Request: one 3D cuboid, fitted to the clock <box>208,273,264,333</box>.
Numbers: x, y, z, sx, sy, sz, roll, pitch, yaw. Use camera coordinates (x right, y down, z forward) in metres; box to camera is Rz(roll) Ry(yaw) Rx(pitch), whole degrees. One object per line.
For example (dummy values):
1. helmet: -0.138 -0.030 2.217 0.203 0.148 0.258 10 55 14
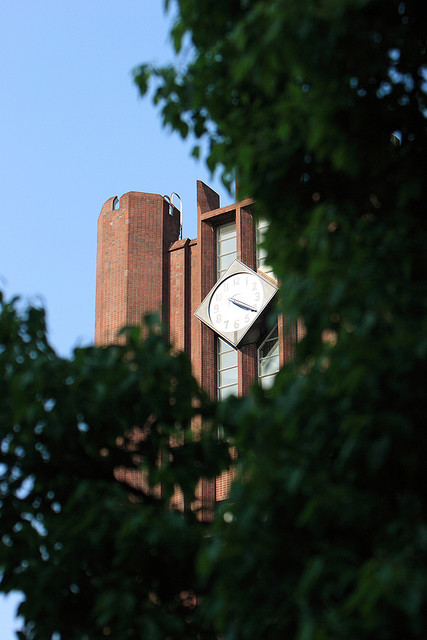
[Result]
1. clock: 0.271 -0.257 16.893 1.007 0.125 1.077 -14 -58 -29
